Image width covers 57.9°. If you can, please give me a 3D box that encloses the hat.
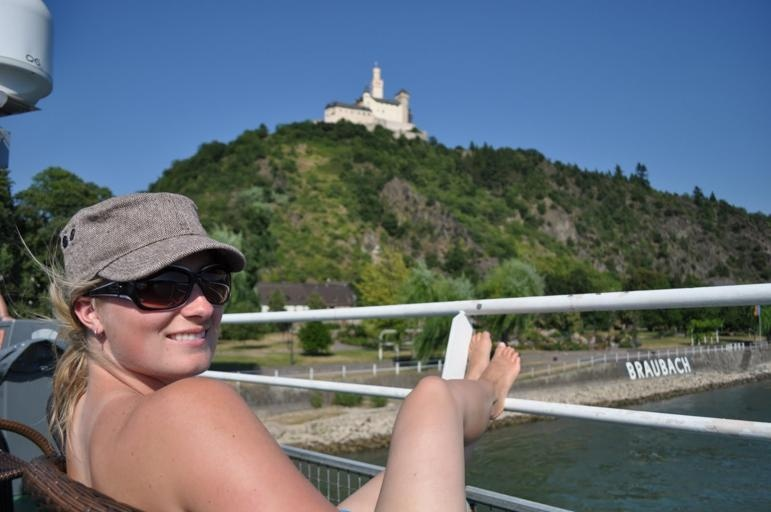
[{"bbox_3d":[-0.748,-0.017,2.028,0.358,0.167,0.267,-5,-2,34],"label":"hat"}]
